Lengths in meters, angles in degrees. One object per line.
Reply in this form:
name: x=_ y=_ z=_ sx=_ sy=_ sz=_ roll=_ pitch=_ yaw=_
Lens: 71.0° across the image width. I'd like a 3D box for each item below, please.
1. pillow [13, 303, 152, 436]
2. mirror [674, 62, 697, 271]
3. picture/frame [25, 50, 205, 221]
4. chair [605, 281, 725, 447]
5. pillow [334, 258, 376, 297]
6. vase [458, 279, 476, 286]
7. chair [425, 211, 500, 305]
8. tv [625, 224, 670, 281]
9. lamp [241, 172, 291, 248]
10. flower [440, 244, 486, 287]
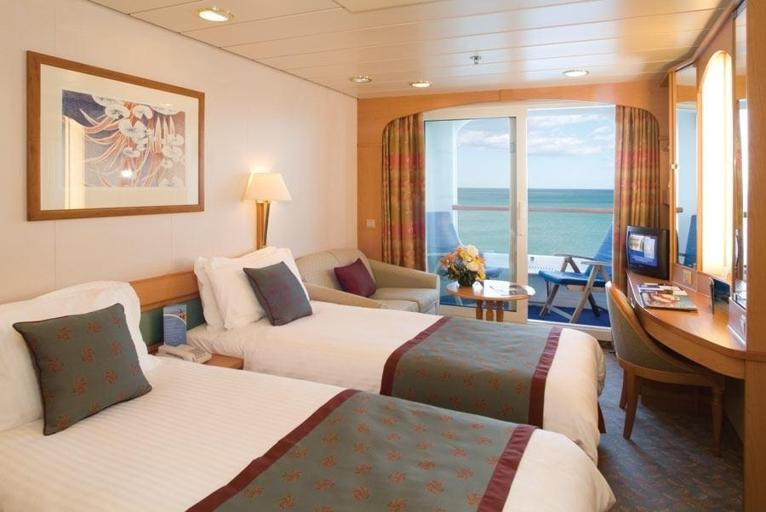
pillow: x=-1.752 y=0.617 z=3.210 sx=0.379 sy=0.604 sz=0.676 roll=11 pitch=14 yaw=25
mirror: x=2.661 y=-0.791 z=4.745 sx=0.130 sy=1.710 sz=0.763 roll=1 pitch=11 yaw=19
picture/frame: x=-1.890 y=-0.814 z=3.842 sx=0.060 sy=1.076 sz=1.308 roll=5 pitch=12 yaw=37
chair: x=2.092 y=0.803 z=4.611 sx=1.059 sy=1.450 sz=1.123 roll=-4 pitch=3 yaw=18
pillow: x=-0.279 y=0.262 z=5.744 sx=0.317 sy=0.365 sz=0.582 roll=5 pitch=8 yaw=18
vase: x=0.853 y=0.279 z=5.485 sx=0.098 sy=0.063 sz=0.091 roll=-1 pitch=-2 yaw=39
chair: x=0.988 y=0.049 z=6.450 sx=0.717 sy=1.046 sz=0.906 roll=-11 pitch=13 yaw=-19
tv: x=2.550 y=-0.017 z=5.190 sx=0.320 sy=0.509 sz=0.570 roll=-4 pitch=0 yaw=-10
lamp: x=-1.036 y=-0.422 z=4.958 sx=0.354 sy=0.703 sz=0.449 roll=0 pitch=10 yaw=16
flower: x=0.823 y=0.096 z=5.654 sx=0.445 sy=0.404 sz=0.436 roll=-1 pitch=6 yaw=25
